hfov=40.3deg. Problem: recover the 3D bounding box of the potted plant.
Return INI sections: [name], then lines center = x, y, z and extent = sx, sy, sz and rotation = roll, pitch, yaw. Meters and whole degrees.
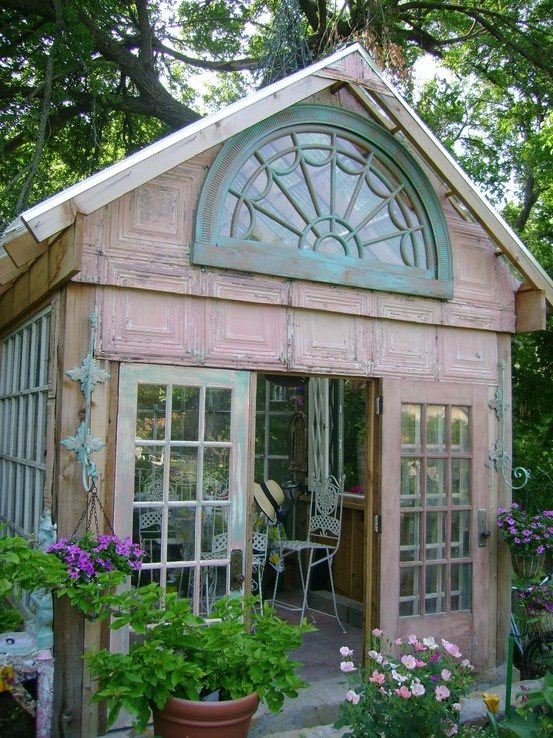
[potted plant]
center = -0.314, 1.192, 3.090
extent = 0.901, 0.591, 0.732
rotation = 4, -13, -13
